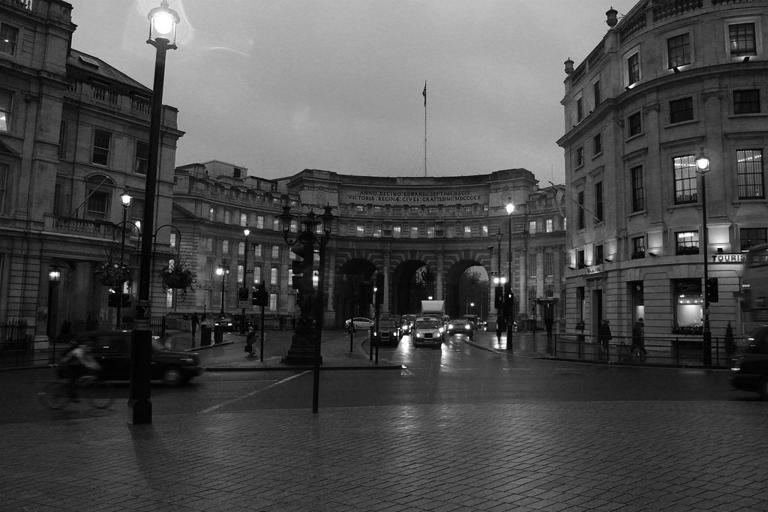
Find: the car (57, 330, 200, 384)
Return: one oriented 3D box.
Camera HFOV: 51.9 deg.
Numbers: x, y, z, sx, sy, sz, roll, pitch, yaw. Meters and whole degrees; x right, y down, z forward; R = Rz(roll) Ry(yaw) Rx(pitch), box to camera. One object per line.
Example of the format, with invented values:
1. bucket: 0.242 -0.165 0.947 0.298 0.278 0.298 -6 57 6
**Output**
1. car: -11.048 4.507 34.764 5.833 2.276 2.424 -1 -2 -7
